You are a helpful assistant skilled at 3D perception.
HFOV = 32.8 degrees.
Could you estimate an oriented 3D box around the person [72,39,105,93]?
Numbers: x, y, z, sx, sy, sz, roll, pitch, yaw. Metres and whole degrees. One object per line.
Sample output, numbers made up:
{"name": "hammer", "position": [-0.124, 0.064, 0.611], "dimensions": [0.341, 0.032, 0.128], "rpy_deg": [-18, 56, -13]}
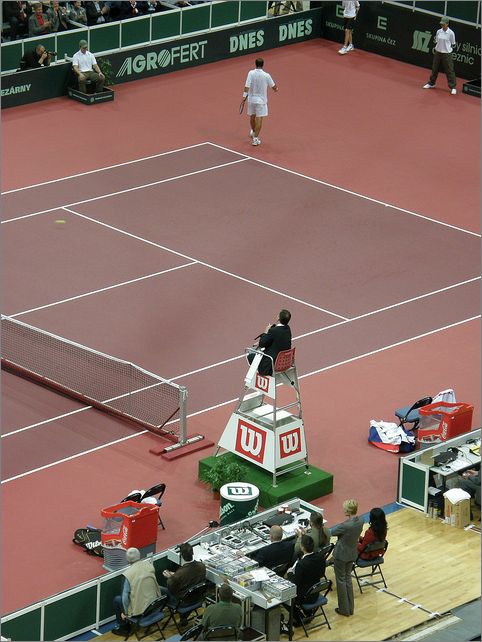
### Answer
{"name": "person", "position": [-5.012, -8.047, 26.499], "dimensions": [0.910, 1.740, 1.065], "rpy_deg": [-24, 51, -34]}

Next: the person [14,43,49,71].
{"name": "person", "position": [-6.521, -8.376, 26.131], "dimensions": [1.042, 0.729, 0.654], "rpy_deg": [-6, 18, -25]}

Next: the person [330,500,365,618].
{"name": "person", "position": [1.022, 2.285, 7.989], "dimensions": [0.280, 1.084, 0.575], "rpy_deg": [4, 17, 8]}

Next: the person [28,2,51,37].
{"name": "person", "position": [-6.739, -10.058, 27.394], "dimensions": [0.761, 1.046, 0.447], "rpy_deg": [-8, 19, -29]}

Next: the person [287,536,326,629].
{"name": "person", "position": [0.598, 2.426, 7.704], "dimensions": [0.329, 0.832, 0.383], "rpy_deg": [5, 17, 12]}

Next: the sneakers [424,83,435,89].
{"name": "sneakers", "position": [6.631, -8.294, 28.968], "dimensions": [0.451, 0.169, 0.137], "rpy_deg": [-1, 16, -7]}

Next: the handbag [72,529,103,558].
{"name": "handbag", "position": [-1.720, 2.500, 9.319], "dimensions": [0.531, 0.159, 0.212], "rpy_deg": [14, -3, 19]}

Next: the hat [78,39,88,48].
{"name": "hat", "position": [-5.049, -8.805, 26.157], "dimensions": [0.311, 0.180, 0.373], "rpy_deg": [-17, 32, -28]}

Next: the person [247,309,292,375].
{"name": "person", "position": [0.368, 0.267, 10.347], "dimensions": [0.606, 0.856, 0.357], "rpy_deg": [16, 22, 41]}

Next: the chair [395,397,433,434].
{"name": "chair", "position": [2.575, 1.423, 12.204], "dimensions": [0.352, 0.489, 0.377], "rpy_deg": [-15, 39, -26]}

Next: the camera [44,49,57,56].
{"name": "camera", "position": [-6.171, -8.668, 26.475], "dimensions": [0.285, 0.212, 0.789], "rpy_deg": [-9, 11, -1]}

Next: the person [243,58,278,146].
{"name": "person", "position": [0.485, -6.299, 23.705], "dimensions": [0.812, 2.428, 1.279], "rpy_deg": [2, 17, 1]}

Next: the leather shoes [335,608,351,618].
{"name": "leather shoes", "position": [0.972, 2.808, 7.914], "dimensions": [0.051, 0.030, 0.123], "rpy_deg": [-10, 14, -40]}

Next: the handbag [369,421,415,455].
{"name": "handbag", "position": [2.196, 1.700, 11.884], "dimensions": [0.463, 0.182, 0.559], "rpy_deg": [-9, 22, -31]}

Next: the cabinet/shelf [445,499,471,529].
{"name": "cabinet/shelf", "position": [2.625, 2.316, 9.886], "dimensions": [0.201, 0.329, 0.275], "rpy_deg": [-26, 37, -32]}

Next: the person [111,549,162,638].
{"name": "person", "position": [-0.950, 2.494, 7.414], "dimensions": [0.391, 0.855, 0.499], "rpy_deg": [-6, 18, -23]}
